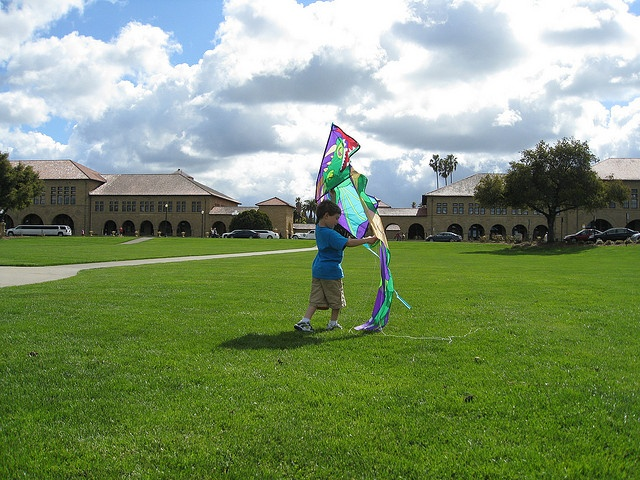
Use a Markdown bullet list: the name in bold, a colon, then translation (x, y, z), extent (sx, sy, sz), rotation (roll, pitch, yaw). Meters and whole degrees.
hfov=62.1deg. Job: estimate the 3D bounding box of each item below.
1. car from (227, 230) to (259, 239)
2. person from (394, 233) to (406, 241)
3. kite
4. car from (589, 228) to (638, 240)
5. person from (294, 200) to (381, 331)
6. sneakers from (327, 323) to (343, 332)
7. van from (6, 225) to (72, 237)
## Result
- **car**: translation (-9.632, -0.694, 67.699), extent (3.961, 0.945, 2.601), rotation (-1, 11, -7)
- **person**: translation (11.864, -0.417, 78.248), extent (0.967, 0.999, 0.365), rotation (5, -10, -22)
- **kite**: translation (0.653, -0.232, 9.366), extent (1.351, 3.594, 0.758), rotation (-3, 2, 5)
- **car**: translation (27.615, -0.444, 49.976), extent (3.361, 1.008, 2.884), rotation (-1, 11, -9)
- **person**: translation (0.164, 0.467, 8.990), extent (1.144, 2.265, 0.708), rotation (1, 10, 4)
- **sneakers**: translation (0.259, 1.475, 9.224), extent (0.105, 0.145, 0.290), rotation (19, 19, 38)
- **van**: translation (-35.334, -1.139, 67.247), extent (5.090, 1.162, 1.443), rotation (3, 0, -12)
